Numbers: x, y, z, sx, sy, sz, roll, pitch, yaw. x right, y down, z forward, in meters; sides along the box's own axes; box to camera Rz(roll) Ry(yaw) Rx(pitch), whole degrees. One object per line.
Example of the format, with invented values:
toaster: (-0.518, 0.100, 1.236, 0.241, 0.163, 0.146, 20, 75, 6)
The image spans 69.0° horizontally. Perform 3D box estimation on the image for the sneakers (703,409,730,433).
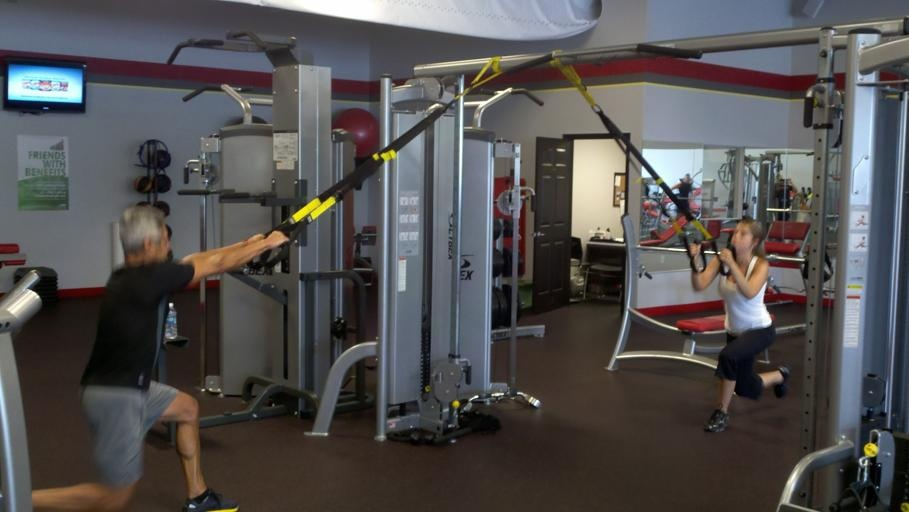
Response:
sneakers: (2.531, 1.604, 6.402, 0.151, 0.121, 0.292, 0, -1, 40)

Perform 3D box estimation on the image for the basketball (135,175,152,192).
basketball: (-5.238, -1.200, 11.251, 0.276, 0.221, 0.227, -13, -22, 42)

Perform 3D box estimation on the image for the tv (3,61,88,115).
tv: (-6.514, -2.685, 10.478, 1.003, 0.644, 0.129, 0, 1, -16)

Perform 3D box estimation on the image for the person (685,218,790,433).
person: (2.720, 0.658, 6.409, 1.341, 2.020, 0.455, -6, 15, -28)

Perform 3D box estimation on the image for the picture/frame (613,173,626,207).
picture/frame: (3.006, -1.238, 11.948, 0.388, 0.504, 0.028, -7, 10, -41)
